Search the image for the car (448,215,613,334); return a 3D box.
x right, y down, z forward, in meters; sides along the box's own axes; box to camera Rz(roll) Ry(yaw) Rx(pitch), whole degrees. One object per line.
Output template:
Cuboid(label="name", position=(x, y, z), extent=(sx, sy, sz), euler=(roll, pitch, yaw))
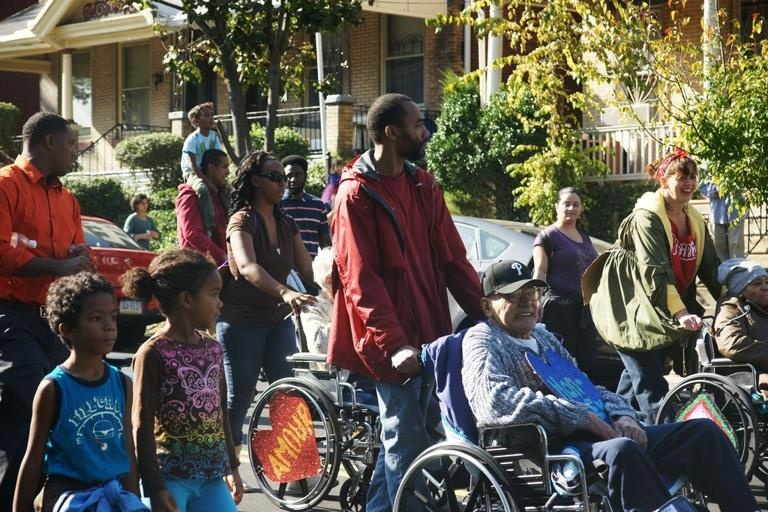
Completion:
Cuboid(label="car", position=(1.528, 0.174, 17.491), extent=(2.808, 1.149, 1.263), euler=(-9, 5, 25))

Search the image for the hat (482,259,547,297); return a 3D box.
Cuboid(label="hat", position=(1.119, 0.228, 12.287), extent=(0.471, 0.388, 0.672), euler=(-8, 0, -29))

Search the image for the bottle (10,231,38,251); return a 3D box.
Cuboid(label="bottle", position=(-3.286, -0.116, 12.390), extent=(0.168, 0.088, 0.130), euler=(18, -2, -8))

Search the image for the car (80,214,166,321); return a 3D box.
Cuboid(label="car", position=(-3.863, 0.165, 19.234), extent=(1.111, 1.138, 2.458), euler=(-3, 4, -30))
